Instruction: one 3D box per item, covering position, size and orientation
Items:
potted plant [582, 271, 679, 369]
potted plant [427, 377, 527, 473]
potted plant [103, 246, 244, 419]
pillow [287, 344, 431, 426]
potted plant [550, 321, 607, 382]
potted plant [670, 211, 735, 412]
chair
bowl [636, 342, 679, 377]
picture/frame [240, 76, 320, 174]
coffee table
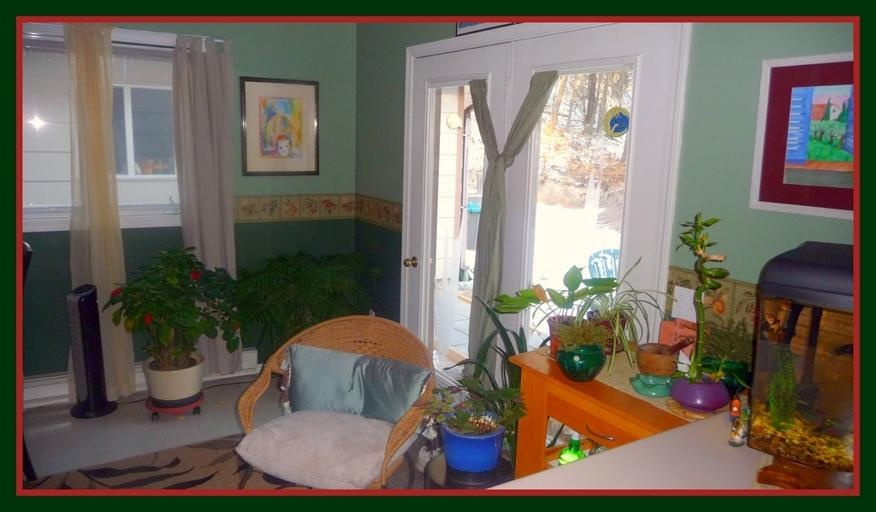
[{"bbox_3d":[0.901,0.287,2.567,0.381,0.270,0.450,-3,-14,2],"label":"potted plant"},{"bbox_3d":[0.189,0.856,2.603,0.444,0.290,0.398,2,-3,40],"label":"potted plant"},{"bbox_3d":[-1.983,0.555,4.122,0.860,1.233,0.682,-6,11,-29],"label":"potted plant"},{"bbox_3d":[-0.455,0.727,3.016,0.763,0.379,0.168,10,16,-3],"label":"pillow"},{"bbox_3d":[0.629,0.423,2.386,0.248,0.241,0.250,-3,1,-11],"label":"potted plant"},{"bbox_3d":[1.125,0.199,2.277,0.239,0.755,0.581,4,11,24],"label":"potted plant"},{"bbox_3d":[-0.412,0.774,2.966,1.143,0.569,0.975,7,22,23],"label":"chair"},{"bbox_3d":[0.933,0.425,2.300,0.177,0.117,0.158,1,-4,15],"label":"bowl"},{"bbox_3d":[-1.380,-1.148,4.672,0.896,0.957,0.067,-7,18,-25],"label":"picture/frame"},{"bbox_3d":[0.796,0.592,2.460,0.546,0.724,0.843,-13,17,-42],"label":"coffee table"}]
